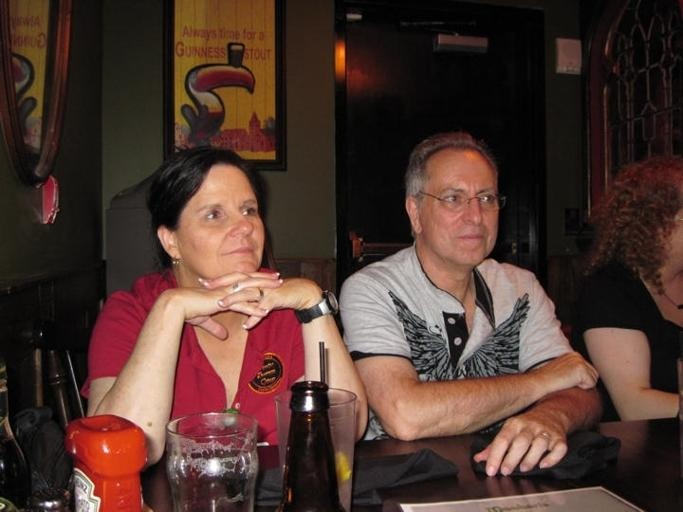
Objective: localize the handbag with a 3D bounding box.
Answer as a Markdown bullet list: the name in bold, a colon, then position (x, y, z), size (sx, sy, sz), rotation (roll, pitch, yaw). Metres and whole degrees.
- **handbag**: position (-0.677, 0.446, 1.323), size (0.091, 0.255, 0.172), rotation (-1, -13, -44)

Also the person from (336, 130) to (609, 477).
- **person**: position (0.443, 0.164, 2.003), size (0.845, 1.078, 0.833), rotation (2, 4, 27)

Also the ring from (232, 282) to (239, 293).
- **ring**: position (-0.291, 0.089, 1.617), size (0.019, 0.019, 0.019), rotation (2, 9, 0)
